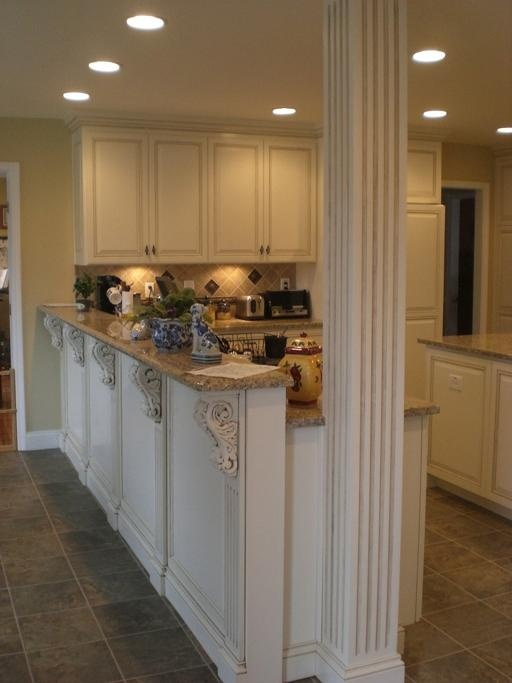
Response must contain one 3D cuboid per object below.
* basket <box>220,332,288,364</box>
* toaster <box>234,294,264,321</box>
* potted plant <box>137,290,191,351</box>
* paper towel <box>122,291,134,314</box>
[{"bbox_3d":[0.021,0.037,2.663,0.232,0.130,0.349,0,2,-18],"label":"basket"},{"bbox_3d":[-0.052,-0.282,4.962,0.154,0.216,0.245,-2,5,-26],"label":"toaster"},{"bbox_3d":[-0.353,-0.074,2.226,0.223,0.232,0.226,-1,-4,-8],"label":"potted plant"},{"bbox_3d":[-0.592,-0.178,2.651,0.044,0.096,0.074,0,2,-16],"label":"paper towel"}]
